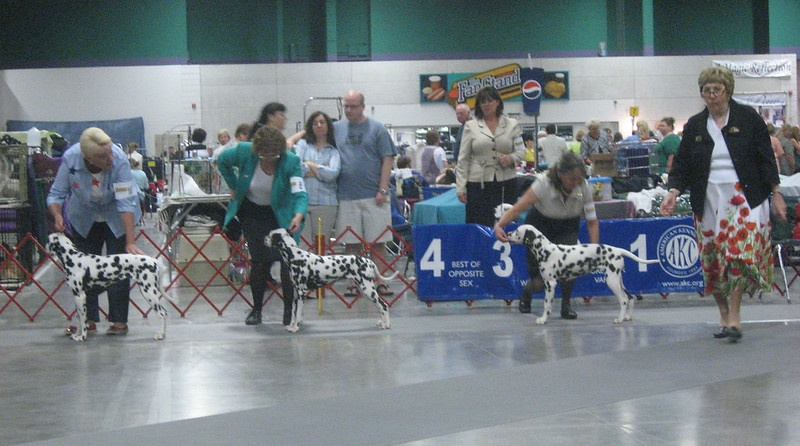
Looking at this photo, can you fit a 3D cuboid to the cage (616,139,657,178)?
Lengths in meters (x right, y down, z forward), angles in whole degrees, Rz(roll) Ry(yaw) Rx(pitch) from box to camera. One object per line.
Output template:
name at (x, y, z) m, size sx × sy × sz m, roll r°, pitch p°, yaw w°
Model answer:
cage at (5.112, -1.370, 19.494) m, size 0.834 × 0.751 × 0.623 m, roll -6°, pitch 9°, yaw -6°

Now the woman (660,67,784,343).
woman at (4.892, -0.332, 13.591) m, size 1.818 × 3.950 × 1.168 m, roll -3°, pitch -5°, yaw 24°

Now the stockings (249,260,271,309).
stockings at (-2.157, 1.033, 14.389) m, size 0.308 × 0.898 × 0.297 m, roll 9°, pitch -4°, yaw 2°

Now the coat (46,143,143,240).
coat at (-4.778, -0.500, 14.130) m, size 1.284 × 1.554 × 1.116 m, roll 0°, pitch 21°, yaw -17°
